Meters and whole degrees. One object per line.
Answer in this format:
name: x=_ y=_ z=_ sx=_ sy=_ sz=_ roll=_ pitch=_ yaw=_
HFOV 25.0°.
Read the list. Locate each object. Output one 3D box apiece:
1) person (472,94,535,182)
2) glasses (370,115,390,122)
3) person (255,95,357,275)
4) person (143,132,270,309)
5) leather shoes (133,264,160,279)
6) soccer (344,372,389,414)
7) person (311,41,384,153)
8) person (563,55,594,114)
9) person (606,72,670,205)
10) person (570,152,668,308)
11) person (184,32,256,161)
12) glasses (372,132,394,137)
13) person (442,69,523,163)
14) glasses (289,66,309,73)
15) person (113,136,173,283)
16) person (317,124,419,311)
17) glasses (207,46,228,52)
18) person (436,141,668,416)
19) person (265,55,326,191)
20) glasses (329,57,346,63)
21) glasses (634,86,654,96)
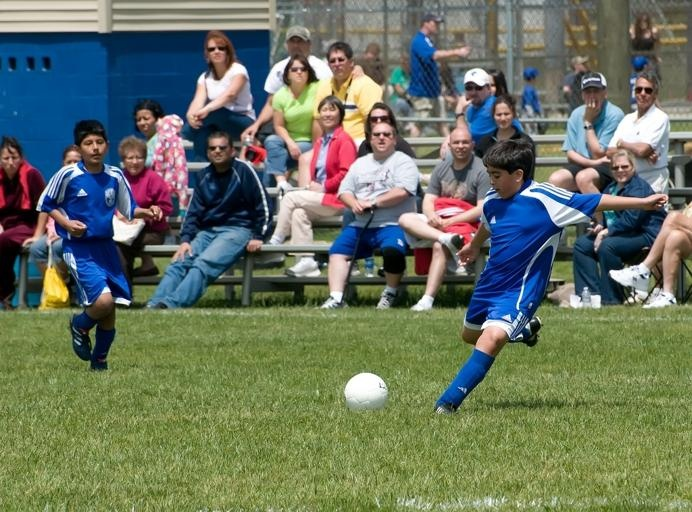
person: x=1.750 y=-1.469 z=17.544 sx=0.575 sy=1.343 sz=0.618 roll=-13 pitch=22 yaw=-37
glasses: x=0.372 y=-1.534 z=17.554 sx=0.230 sy=0.088 sz=0.132 roll=3 pitch=15 yaw=15
person: x=-0.401 y=-0.805 z=18.138 sx=0.923 sy=2.222 sz=0.866 roll=1 pitch=20 yaw=-10
person: x=-1.533 y=-0.340 z=17.670 sx=0.930 sy=2.328 sz=1.122 roll=1 pitch=3 yaw=18
leather shoes: x=-2.399 y=0.177 z=18.677 sx=0.323 sy=0.154 sz=0.128 roll=1 pitch=-3 yaw=-13
soccer: x=0.183 y=1.177 z=13.626 sx=0.380 sy=0.262 sz=0.237 roll=-2 pitch=14 yaw=-2
person: x=0.084 y=-1.950 z=18.696 sx=0.496 sy=1.693 sz=0.572 roll=1 pitch=2 yaw=5
person: x=3.277 y=-2.408 z=21.905 sx=0.223 sy=0.806 sz=0.298 roll=3 pitch=22 yaw=4
person: x=3.370 y=-1.355 z=17.586 sx=0.475 sy=1.648 sz=0.564 roll=-7 pitch=18 yaw=-23
person: x=2.993 y=-0.330 z=17.232 sx=0.919 sy=1.627 sz=0.602 roll=-4 pitch=5 yaw=-27
person: x=-1.572 y=-1.996 z=19.242 sx=0.632 sy=1.842 sz=0.613 roll=18 pitch=23 yaw=31
glasses: x=0.418 y=-1.339 z=17.340 sx=0.214 sy=0.066 sz=0.049 roll=-3 pitch=14 yaw=-5
person: x=1.825 y=-1.259 z=17.692 sx=0.543 sy=1.121 sz=0.639 roll=-13 pitch=20 yaw=-43
glasses: x=-0.578 y=-2.266 z=19.012 sx=0.191 sy=0.073 sz=0.052 roll=-2 pitch=14 yaw=-2
person: x=-2.391 y=-0.555 z=18.322 sx=0.472 sy=1.644 sz=0.733 roll=1 pitch=2 yaw=14
person: x=0.348 y=-0.555 z=17.558 sx=0.808 sy=2.351 sz=0.920 roll=1 pitch=3 yaw=8
glasses: x=-1.589 y=-2.520 z=19.094 sx=0.243 sy=0.077 sz=0.138 roll=-3 pitch=15 yaw=-5
person: x=1.584 y=-0.025 z=13.577 sx=1.389 sy=3.042 sz=0.987 roll=-2 pitch=3 yaw=-35
person: x=-0.689 y=-1.597 z=19.049 sx=0.507 sy=1.650 sz=0.826 roll=9 pitch=14 yaw=28
glasses: x=-0.094 y=-2.319 z=18.557 sx=0.184 sy=0.070 sz=0.056 roll=2 pitch=14 yaw=11
glasses: x=3.360 y=-1.837 z=17.392 sx=0.203 sy=0.100 sz=0.100 roll=2 pitch=14 yaw=11
